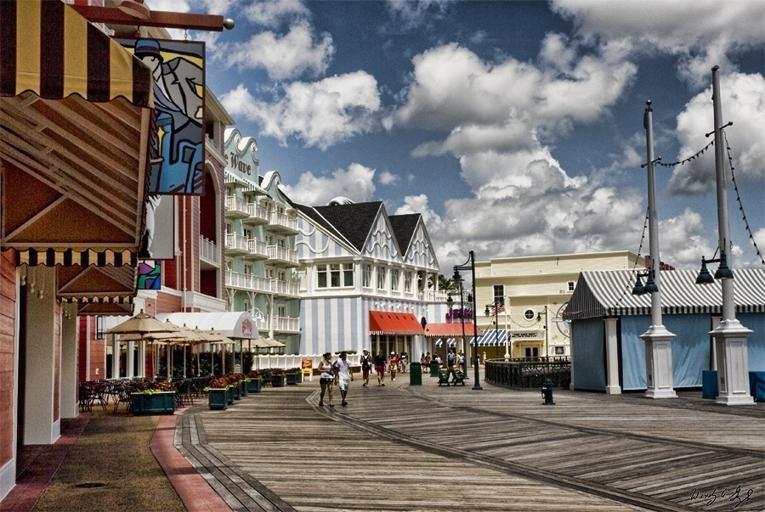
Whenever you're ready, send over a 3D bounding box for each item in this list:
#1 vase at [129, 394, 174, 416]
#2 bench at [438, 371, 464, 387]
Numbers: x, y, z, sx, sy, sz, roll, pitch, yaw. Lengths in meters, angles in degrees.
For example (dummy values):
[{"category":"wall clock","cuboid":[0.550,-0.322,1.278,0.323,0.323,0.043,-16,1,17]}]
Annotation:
[{"category":"vase","cuboid":[-6.797,4.382,26.316,1.216,0.669,0.489,4,-14,-21]},{"category":"bench","cuboid":[3.252,5.807,41.610,1.132,0.717,0.876,-2,-4,2]}]
